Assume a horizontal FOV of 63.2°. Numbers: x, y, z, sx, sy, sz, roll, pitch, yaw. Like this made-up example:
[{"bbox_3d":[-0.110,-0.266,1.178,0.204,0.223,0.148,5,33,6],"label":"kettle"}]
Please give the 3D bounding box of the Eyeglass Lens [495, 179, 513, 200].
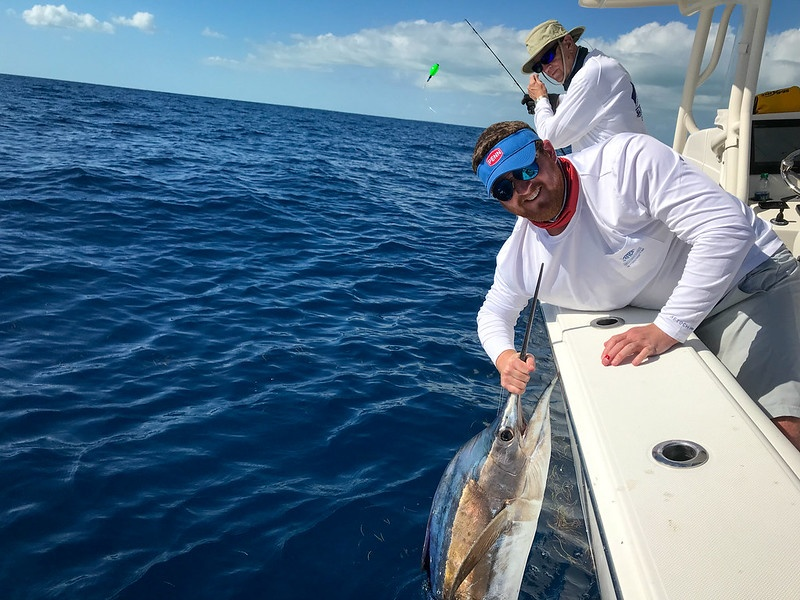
[{"bbox_3d":[0.502,-0.535,3.219,0.094,0.092,0.094,-13,-20,9],"label":"Eyeglass Lens"}]
